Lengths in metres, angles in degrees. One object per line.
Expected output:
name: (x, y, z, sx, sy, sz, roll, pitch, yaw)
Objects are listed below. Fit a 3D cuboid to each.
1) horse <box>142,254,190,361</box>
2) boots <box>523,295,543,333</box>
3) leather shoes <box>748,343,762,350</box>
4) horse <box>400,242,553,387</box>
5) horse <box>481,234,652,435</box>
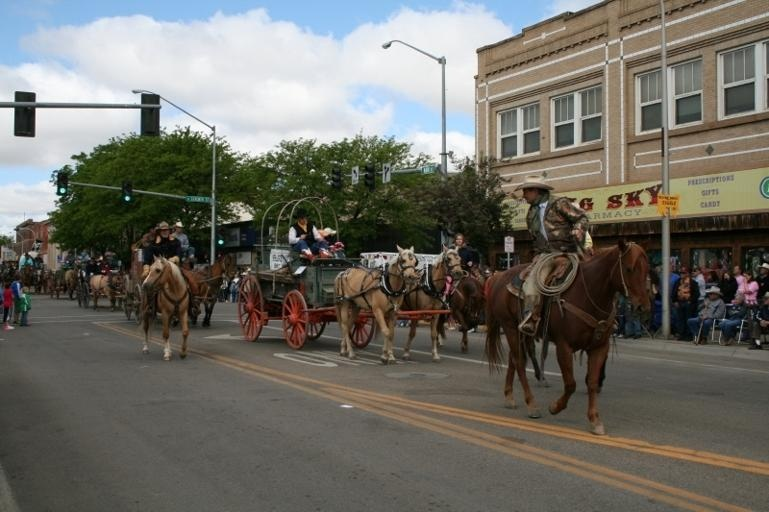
horse: (-5.858, 1.509, 21.244, 1.329, 2.578, 4.318, 0, -7, -18)
boots: (2.793, 1.194, 14.859, 0.441, 0.764, 0.328, 13, -27, 16)
leather shoes: (10.341, 2.541, 22.217, 0.146, 0.163, 0.427, 2, -2, -8)
horse: (3.664, 1.408, 20.595, 2.858, 3.287, 6.087, 1, -1, -6)
horse: (3.383, 1.538, 15.384, 1.493, 3.445, 5.157, 4, -5, -23)
